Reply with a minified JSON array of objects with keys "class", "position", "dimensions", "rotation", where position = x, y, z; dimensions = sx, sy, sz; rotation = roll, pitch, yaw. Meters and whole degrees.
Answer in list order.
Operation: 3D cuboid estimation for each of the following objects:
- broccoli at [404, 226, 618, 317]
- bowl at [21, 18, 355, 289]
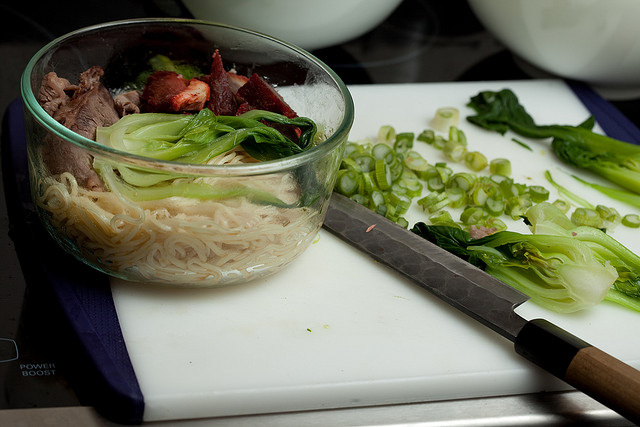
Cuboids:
[{"class":"broccoli","position":[0.419,0.123,1.202],"dimensions":[0.338,0.129,0.203],"rotation":[7,55,-1]},{"class":"bowl","position":[-0.302,-0.151,1.171],"dimensions":[0.647,0.297,0.639],"rotation":[9,35,-6]}]
